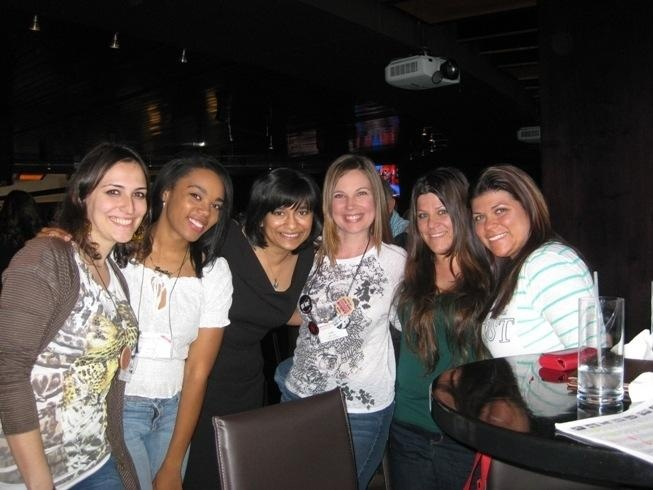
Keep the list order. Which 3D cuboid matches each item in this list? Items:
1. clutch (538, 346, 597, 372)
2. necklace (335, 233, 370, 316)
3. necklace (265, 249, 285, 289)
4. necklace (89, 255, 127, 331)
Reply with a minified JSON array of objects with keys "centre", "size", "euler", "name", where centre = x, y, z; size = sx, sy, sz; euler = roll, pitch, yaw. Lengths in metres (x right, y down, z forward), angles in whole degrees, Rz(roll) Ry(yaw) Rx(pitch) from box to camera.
[{"centre":[0.815,0.385,1.703],"size":[0.166,0.039,0.086],"euler":[0,-1,-42],"name":"clutch"},{"centre":[0.154,0.167,2.621],"size":[0.086,0.347,0.313],"euler":[5,14,30],"name":"necklace"},{"centre":[-0.284,0.153,2.693],"size":[0.045,0.164,0.037],"euler":[15,-46,-45],"name":"necklace"},{"centre":[-0.859,0.188,1.940],"size":[0.077,0.258,0.135],"euler":[-20,-10,29],"name":"necklace"}]
